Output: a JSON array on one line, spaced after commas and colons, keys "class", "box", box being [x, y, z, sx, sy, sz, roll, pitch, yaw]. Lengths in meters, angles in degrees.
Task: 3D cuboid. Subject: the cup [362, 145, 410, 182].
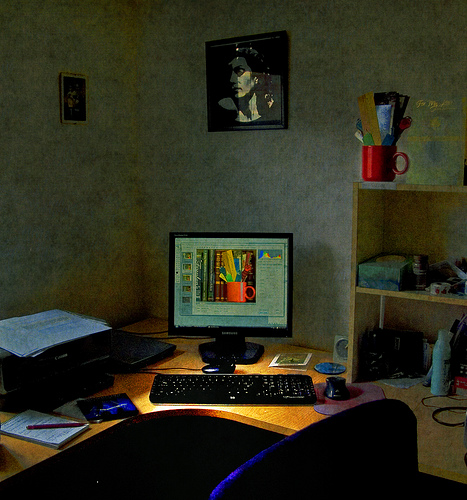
[{"class": "cup", "box": [0.488, -0.272, 1.598, 0.110, 0.118, 0.179, -11, 19, -26]}]

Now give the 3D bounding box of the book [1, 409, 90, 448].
[{"class": "book", "box": [-0.513, 0.481, 1.375, 0.227, 0.019, 0.131, 3, 7, 22]}]

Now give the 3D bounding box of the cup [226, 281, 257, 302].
[{"class": "cup", "box": [0.029, 0.158, 1.907, 0.107, 0.062, 0.062, 5, 1, 17]}]

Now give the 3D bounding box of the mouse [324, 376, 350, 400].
[{"class": "mouse", "box": [0.319, 0.422, 1.555, 0.064, 0.042, 0.062, -1, -2, 1]}]

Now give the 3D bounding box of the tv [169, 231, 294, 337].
[{"class": "tv", "box": [0.007, 0.130, 1.914, 0.413, 0.340, 0.041, 1, -1, 0]}]
